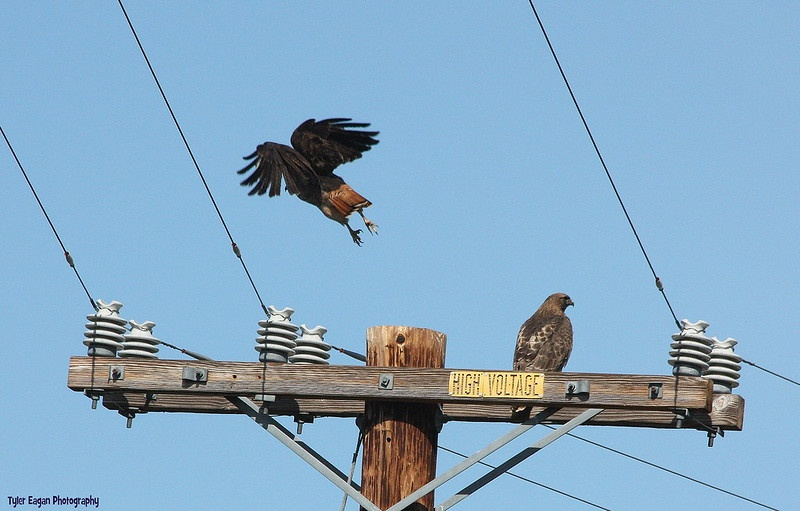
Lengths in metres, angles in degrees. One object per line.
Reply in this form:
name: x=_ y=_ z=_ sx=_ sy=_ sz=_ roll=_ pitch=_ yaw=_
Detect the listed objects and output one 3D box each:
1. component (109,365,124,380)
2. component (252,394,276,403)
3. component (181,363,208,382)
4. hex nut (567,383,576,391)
component: x=-3.090 y=1.304 z=22.164 sx=0.147 sy=0.145 sz=0.096 roll=0 pitch=-5 yaw=0
component: x=-1.448 y=1.591 z=22.083 sx=0.224 sy=0.080 sz=0.159 roll=2 pitch=-34 yaw=7
component: x=-2.204 y=1.250 z=22.057 sx=0.282 sy=0.185 sz=0.164 roll=3 pitch=-23 yaw=-12
hex nut: x=1.844 y=1.422 z=21.602 sx=0.077 sy=0.073 sz=0.018 roll=6 pitch=9 yaw=32
